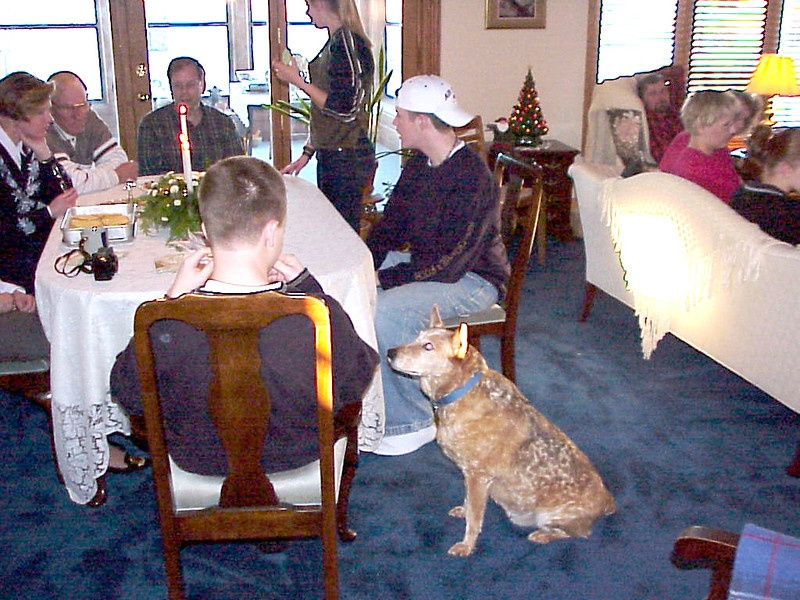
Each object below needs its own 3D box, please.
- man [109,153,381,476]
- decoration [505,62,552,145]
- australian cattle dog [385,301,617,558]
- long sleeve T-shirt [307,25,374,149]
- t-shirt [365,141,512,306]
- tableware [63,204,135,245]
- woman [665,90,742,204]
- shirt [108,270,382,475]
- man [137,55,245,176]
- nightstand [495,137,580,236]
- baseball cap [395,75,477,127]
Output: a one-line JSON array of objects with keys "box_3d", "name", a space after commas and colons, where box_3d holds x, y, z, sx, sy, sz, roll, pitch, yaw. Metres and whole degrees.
[{"box_3d": [-0.488, 0.074, 2.490, 0.932, 1.085, 0.593, 3, 29, -1], "name": "man"}, {"box_3d": [1.068, -1.623, 6.261, 0.305, 0.602, 0.305, -4, 18, -8], "name": "decoration"}, {"box_3d": [0.437, 0.521, 3.023, 0.962, 0.970, 0.421, -2, 15, -5], "name": "australian cattle dog"}, {"box_3d": [-0.373, -1.303, 4.575, 0.418, 0.718, 0.329, -3, 18, -4], "name": "long sleeve T-shirt"}, {"box_3d": [0.171, -0.388, 3.639, 0.803, 0.784, 0.592, -13, 29, -35], "name": "t-shirt"}, {"box_3d": [-1.335, -0.338, 3.274, 0.260, 0.062, 0.250, -3, 24, -10], "name": "tableware"}, {"box_3d": [1.822, -0.939, 4.375, 0.427, 0.612, 0.730, 12, 27, 37], "name": "woman"}, {"box_3d": [-0.458, 0.291, 2.529, 0.777, 0.895, 0.700, 0, 51, -4], "name": "shirt"}, {"box_3d": [-1.366, -1.083, 4.822, 0.726, 0.964, 0.521, -8, 28, -18], "name": "man"}, {"box_3d": [1.143, -0.862, 6.455, 0.697, 0.758, 0.736, 2, -3, 19], "name": "nightstand"}, {"box_3d": [0.175, -0.955, 3.480, 0.342, 0.188, 0.224, 13, 29, 8], "name": "baseball cap"}]
